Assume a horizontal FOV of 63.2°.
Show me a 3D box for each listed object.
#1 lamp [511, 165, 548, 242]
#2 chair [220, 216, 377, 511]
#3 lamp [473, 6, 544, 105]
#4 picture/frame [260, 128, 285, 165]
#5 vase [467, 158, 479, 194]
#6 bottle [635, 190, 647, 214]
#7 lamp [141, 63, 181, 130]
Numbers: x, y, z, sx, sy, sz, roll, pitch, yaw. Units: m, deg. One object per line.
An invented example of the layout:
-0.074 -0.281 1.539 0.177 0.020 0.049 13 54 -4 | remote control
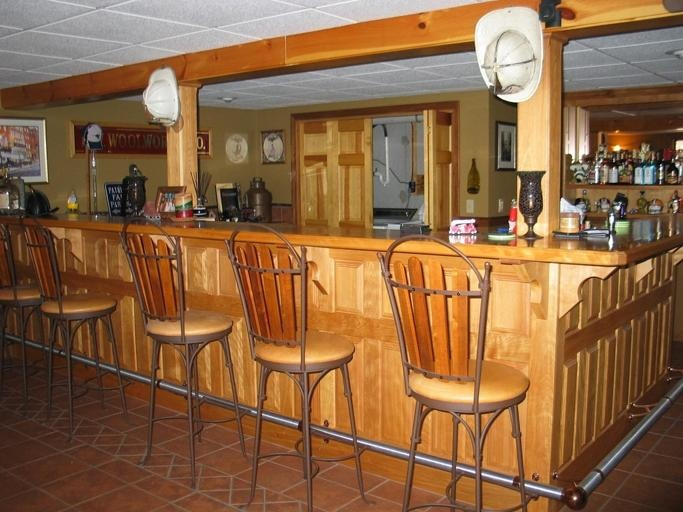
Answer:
0.991 -0.275 2.936 0.135 0.340 0.298 4 11 18 | lamp
-0.238 0.536 2.935 0.680 1.460 0.824 -2 11 -11 | chair
0.866 -1.012 2.883 0.379 0.467 0.181 6 21 29 | lamp
-0.989 -1.580 7.946 0.549 0.502 0.040 10 17 40 | picture/frame
1.536 -0.923 6.459 0.134 0.425 0.054 8 14 32 | vase
3.104 -0.560 5.719 0.097 0.219 0.214 6 12 28 | bottle
-1.327 -1.177 4.080 0.295 0.411 0.160 5 12 24 | lamp
